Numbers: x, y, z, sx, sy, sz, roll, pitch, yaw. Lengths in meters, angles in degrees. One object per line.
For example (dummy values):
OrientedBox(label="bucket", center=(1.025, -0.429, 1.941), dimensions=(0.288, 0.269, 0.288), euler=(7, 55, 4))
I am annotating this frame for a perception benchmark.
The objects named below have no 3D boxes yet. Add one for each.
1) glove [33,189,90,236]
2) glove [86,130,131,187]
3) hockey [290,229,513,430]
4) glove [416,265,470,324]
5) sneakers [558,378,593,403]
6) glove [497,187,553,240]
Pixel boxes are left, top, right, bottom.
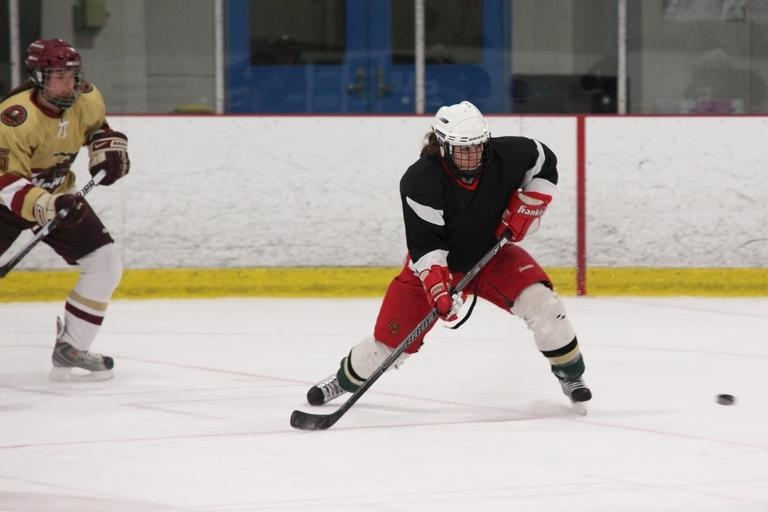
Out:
OrientedBox(label="glove", center=(-1.621, -0.215, 5.005), dimensions=(0.259, 0.221, 0.279), euler=(2, 10, -17))
OrientedBox(label="glove", center=(-1.458, -0.510, 5.286), dimensions=(0.252, 0.270, 0.285), euler=(1, -17, -18))
OrientedBox(label="hockey", center=(0.092, 0.405, 5.203), dimensions=(0.187, 1.200, 0.137), euler=(43, 4, -22))
OrientedBox(label="glove", center=(0.263, 0.156, 4.603), dimensions=(0.122, 0.175, 0.274), euler=(45, 21, -44))
OrientedBox(label="sneakers", center=(0.903, 0.637, 4.721), dimensions=(0.152, 0.128, 0.152), euler=(6, 9, 10))
OrientedBox(label="glove", center=(0.656, -0.202, 4.774), dimensions=(0.221, 0.257, 0.111), euler=(18, 37, -25))
